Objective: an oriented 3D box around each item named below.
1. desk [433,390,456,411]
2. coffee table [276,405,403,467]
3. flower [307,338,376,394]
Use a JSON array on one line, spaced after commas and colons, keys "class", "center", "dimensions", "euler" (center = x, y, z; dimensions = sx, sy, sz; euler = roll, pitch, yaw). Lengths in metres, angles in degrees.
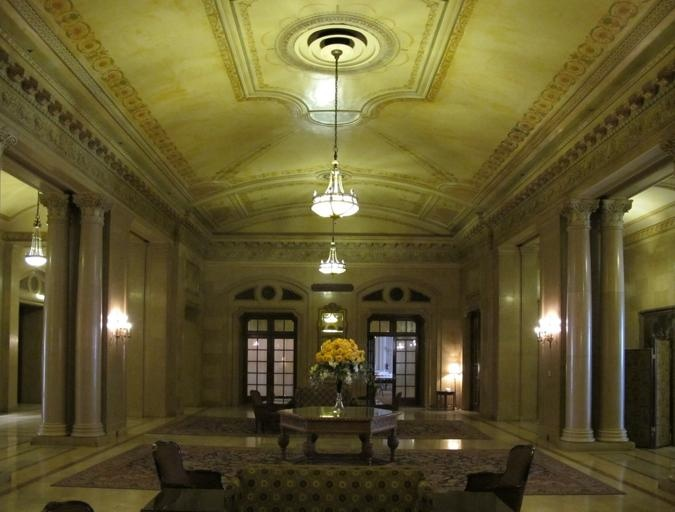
[{"class": "desk", "center": [3.555, 4.753, 16.910], "dimensions": [0.665, 0.630, 0.577], "euler": [7, -13, -28]}, {"class": "coffee table", "center": [0.050, 2.887, 8.245], "dimensions": [1.966, 0.851, 1.559], "euler": [2, -15, -6]}, {"class": "flower", "center": [0.077, 1.862, 9.000], "dimensions": [1.208, 1.201, 1.095], "euler": [1, -2, 6]}]
